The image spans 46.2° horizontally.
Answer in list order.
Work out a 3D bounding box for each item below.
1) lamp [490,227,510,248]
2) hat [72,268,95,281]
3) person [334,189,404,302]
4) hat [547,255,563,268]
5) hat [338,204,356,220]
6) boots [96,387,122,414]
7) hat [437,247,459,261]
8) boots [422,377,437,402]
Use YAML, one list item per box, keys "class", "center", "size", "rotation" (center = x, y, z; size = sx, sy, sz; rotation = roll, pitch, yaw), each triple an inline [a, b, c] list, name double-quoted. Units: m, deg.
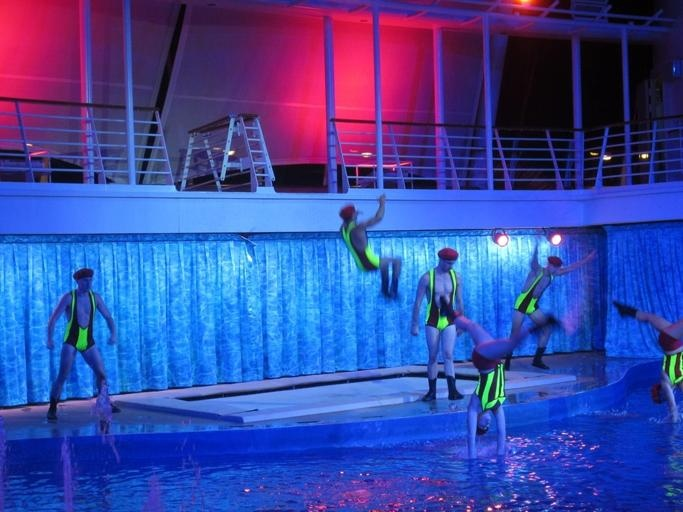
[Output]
- class: "lamp"
  center: [2.715, -0.365, 13.735]
  size: [0.224, 0.334, 0.328]
  rotation: [-14, -11, 4]
- class: "hat"
  center: [-3.251, 0.235, 10.053]
  size: [0.202, 0.135, 0.220]
  rotation: [-3, -6, -29]
- class: "person"
  center: [0.401, -0.075, 10.230]
  size: [0.665, 1.361, 0.718]
  rotation: [-13, 5, -24]
- class: "hat"
  center: [3.355, 0.089, 12.555]
  size: [0.263, 0.183, 0.156]
  rotation: [-6, 2, -27]
- class: "hat"
  center: [0.057, -0.548, 9.889]
  size: [0.187, 0.147, 0.167]
  rotation: [1, 10, 38]
- class: "boots"
  center: [-2.936, 1.817, 10.040]
  size: [0.243, 0.324, 0.679]
  rotation: [-5, 2, -12]
- class: "hat"
  center: [1.362, -0.018, 10.284]
  size: [0.234, 0.168, 0.355]
  rotation: [-5, 2, 5]
- class: "boots"
  center: [1.163, 1.764, 10.402]
  size: [0.306, 0.351, 0.162]
  rotation: [1, 1, 12]
